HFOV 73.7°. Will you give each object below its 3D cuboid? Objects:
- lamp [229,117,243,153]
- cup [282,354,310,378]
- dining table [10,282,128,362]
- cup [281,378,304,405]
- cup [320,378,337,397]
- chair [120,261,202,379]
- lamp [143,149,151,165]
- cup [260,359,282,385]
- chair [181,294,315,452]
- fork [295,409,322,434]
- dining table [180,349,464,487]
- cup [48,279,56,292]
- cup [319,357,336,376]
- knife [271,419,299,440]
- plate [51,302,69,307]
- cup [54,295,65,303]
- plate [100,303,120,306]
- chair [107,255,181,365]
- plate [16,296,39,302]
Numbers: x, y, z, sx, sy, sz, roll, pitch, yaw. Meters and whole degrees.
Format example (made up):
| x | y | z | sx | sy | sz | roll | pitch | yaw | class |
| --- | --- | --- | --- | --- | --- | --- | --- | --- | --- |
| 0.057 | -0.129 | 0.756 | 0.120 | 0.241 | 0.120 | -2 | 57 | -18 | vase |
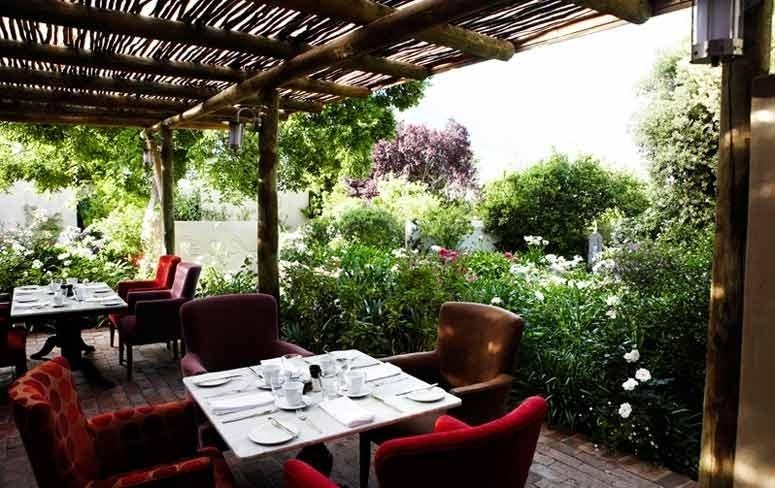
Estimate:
| x | y | z | sx | sy | sz | roll | pitch | yaw | class |
| --- | --- | --- | --- | --- | --- | --- | --- | --- | --- |
| -1.947 | -1.421 | 6.648 | 0.152 | 0.466 | 0.693 | 1 | 3 | -17 | lamp |
| -0.730 | 0.965 | 4.087 | 0.192 | 0.139 | 0.193 | -1 | -1 | 0 | cup |
| -3.895 | 1.030 | 6.329 | 0.664 | 0.550 | 1.181 | 1 | -7 | 41 | dining table |
| -0.672 | 1.057 | 3.710 | 0.164 | 0.122 | 0.161 | -1 | 2 | 0 | cup |
| -0.439 | 1.056 | 3.892 | 0.136 | 0.138 | 0.131 | 0 | 3 | 0 | cup |
| -3.002 | 0.930 | 6.705 | 1.076 | 1.255 | 1.004 | 0 | 8 | -16 | chair |
| -4.173 | -1.506 | 8.996 | 0.121 | 0.231 | 0.244 | 1 | 3 | -26 | lamp |
| -0.891 | 0.978 | 3.980 | 0.167 | 0.156 | 0.171 | 1 | 8 | 0 | cup |
| -1.521 | 1.110 | 5.286 | 1.217 | 1.408 | 1.232 | -2 | -1 | -31 | chair |
| -0.558 | 1.215 | 3.608 | 0.073 | 0.060 | 0.412 | -6 | 9 | -26 | fork |
| -0.531 | 1.170 | 3.773 | 1.165 | 0.692 | 1.144 | -5 | 10 | -33 | dining table |
| -4.569 | 0.568 | 7.057 | 0.088 | 0.148 | 0.111 | 6 | -2 | 13 | cup |
| -0.463 | 0.937 | 4.006 | 0.087 | 0.107 | 0.129 | 1 | -5 | -3 | cup |
| -0.691 | 1.249 | 3.483 | 0.042 | 0.052 | 0.362 | -5 | 7 | -29 | knife |
| -3.845 | 0.711 | 6.114 | 0.177 | 0.040 | 0.185 | 1 | 3 | -36 | plate |
| -3.901 | 0.650 | 6.162 | 0.104 | 0.071 | 0.091 | -3 | 4 | -44 | cup |
| -3.297 | 0.717 | 6.187 | 0.178 | 0.026 | 0.200 | 1 | 2 | -18 | plate |
| -3.399 | 0.954 | 7.357 | 1.228 | 1.376 | 1.109 | 2 | 16 | -8 | chair |
| -4.385 | 0.666 | 6.302 | 0.225 | 0.024 | 0.377 | 1 | 3 | -38 | plate |
